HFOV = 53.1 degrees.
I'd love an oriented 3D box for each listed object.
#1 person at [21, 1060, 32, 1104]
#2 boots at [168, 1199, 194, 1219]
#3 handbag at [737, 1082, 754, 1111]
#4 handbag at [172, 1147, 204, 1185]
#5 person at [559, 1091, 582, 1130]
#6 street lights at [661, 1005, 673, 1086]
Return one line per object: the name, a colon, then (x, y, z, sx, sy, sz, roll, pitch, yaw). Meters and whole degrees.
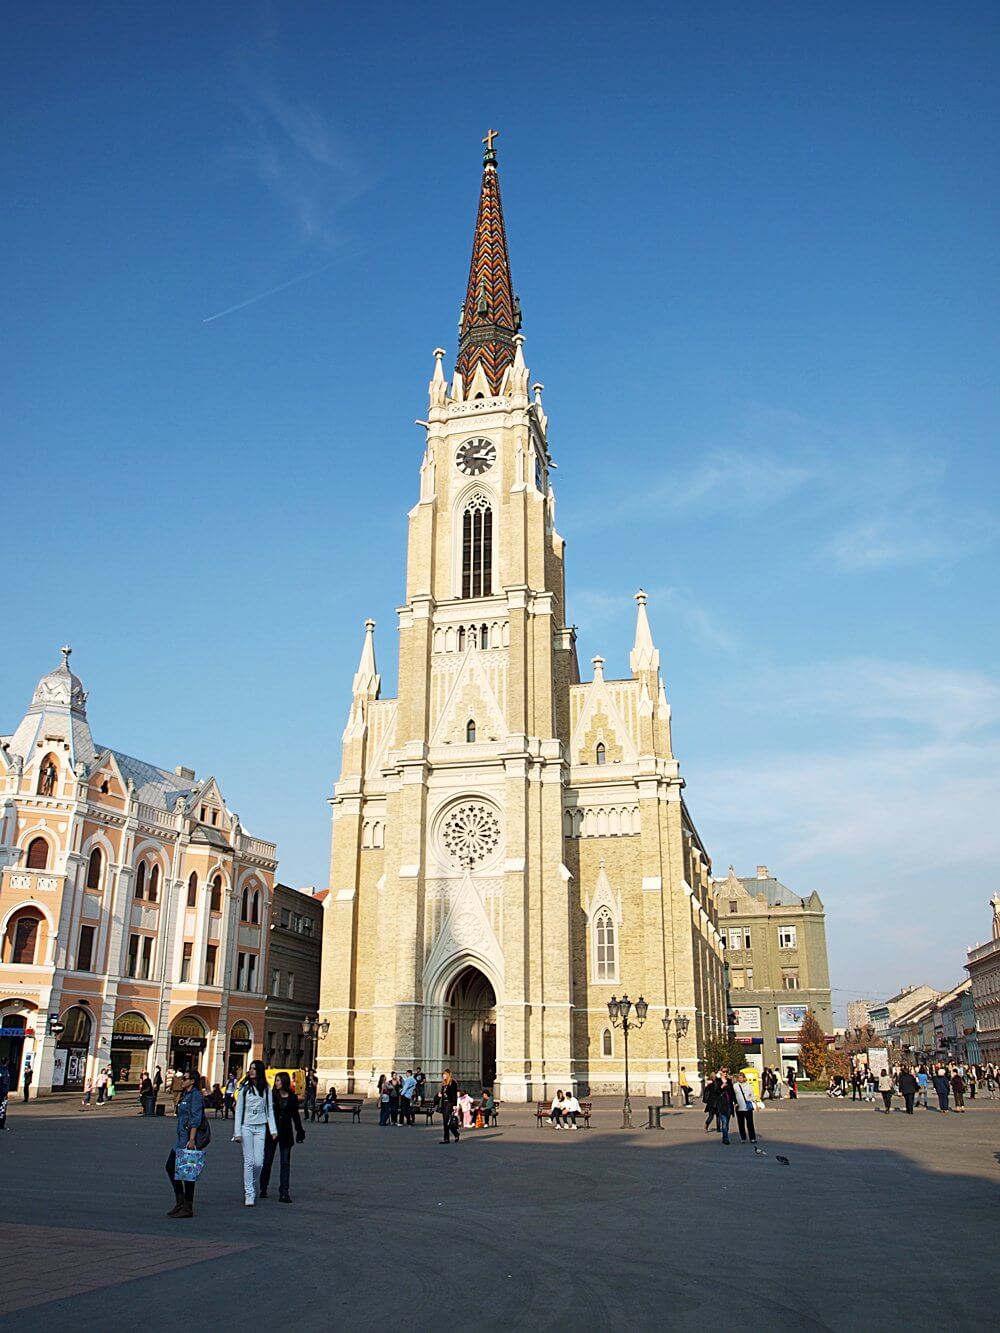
person: (-19.984, 17.466, 42.417, 0.414, 1.509, 1.464, 8, -22, -23)
boots: (-3.269, 5.582, 10.276, 0.235, 0.142, 0.237, 8, -22, -22)
handbag: (5.342, 9.414, 21.890, 0.263, 0.499, 0.511, -1, -17, 9)
handbag: (-3.221, 5.137, 10.271, 0.275, 0.382, 0.363, 6, -21, -17)
person: (2.001, 12.693, 28.612, 0.570, 0.887, 1.385, -2, -20, 2)
street lights: (7.349, 16.633, 43.549, 0.397, 3.210, 0.704, -16, -25, 35)
